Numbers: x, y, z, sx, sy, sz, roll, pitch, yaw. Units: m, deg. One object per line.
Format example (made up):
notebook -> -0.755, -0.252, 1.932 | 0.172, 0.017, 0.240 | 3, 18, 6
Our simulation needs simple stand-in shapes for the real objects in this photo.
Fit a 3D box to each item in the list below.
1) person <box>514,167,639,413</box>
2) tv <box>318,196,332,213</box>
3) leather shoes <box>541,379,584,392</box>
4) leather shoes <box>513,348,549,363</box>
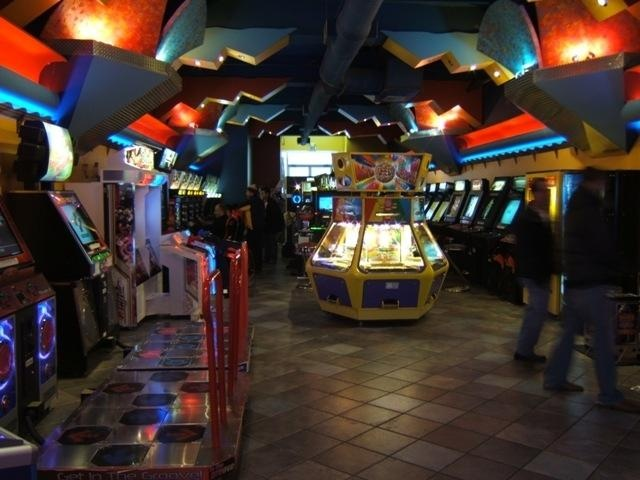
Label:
person -> 2.288, 0.463, 3.860 | 0.342, 1.811, 0.654 | -3, 6, -24
tv -> 0.079, -0.864, 11.183 | 0.309, 0.393, 0.232 | -1, 5, -8
leather shoes -> 2.163, 1.319, 4.132 | 0.328, 0.122, 0.115 | -3, -1, 3
leather shoes -> 2.189, 1.212, 4.849 | 0.367, 0.139, 0.120 | -1, 3, 1
